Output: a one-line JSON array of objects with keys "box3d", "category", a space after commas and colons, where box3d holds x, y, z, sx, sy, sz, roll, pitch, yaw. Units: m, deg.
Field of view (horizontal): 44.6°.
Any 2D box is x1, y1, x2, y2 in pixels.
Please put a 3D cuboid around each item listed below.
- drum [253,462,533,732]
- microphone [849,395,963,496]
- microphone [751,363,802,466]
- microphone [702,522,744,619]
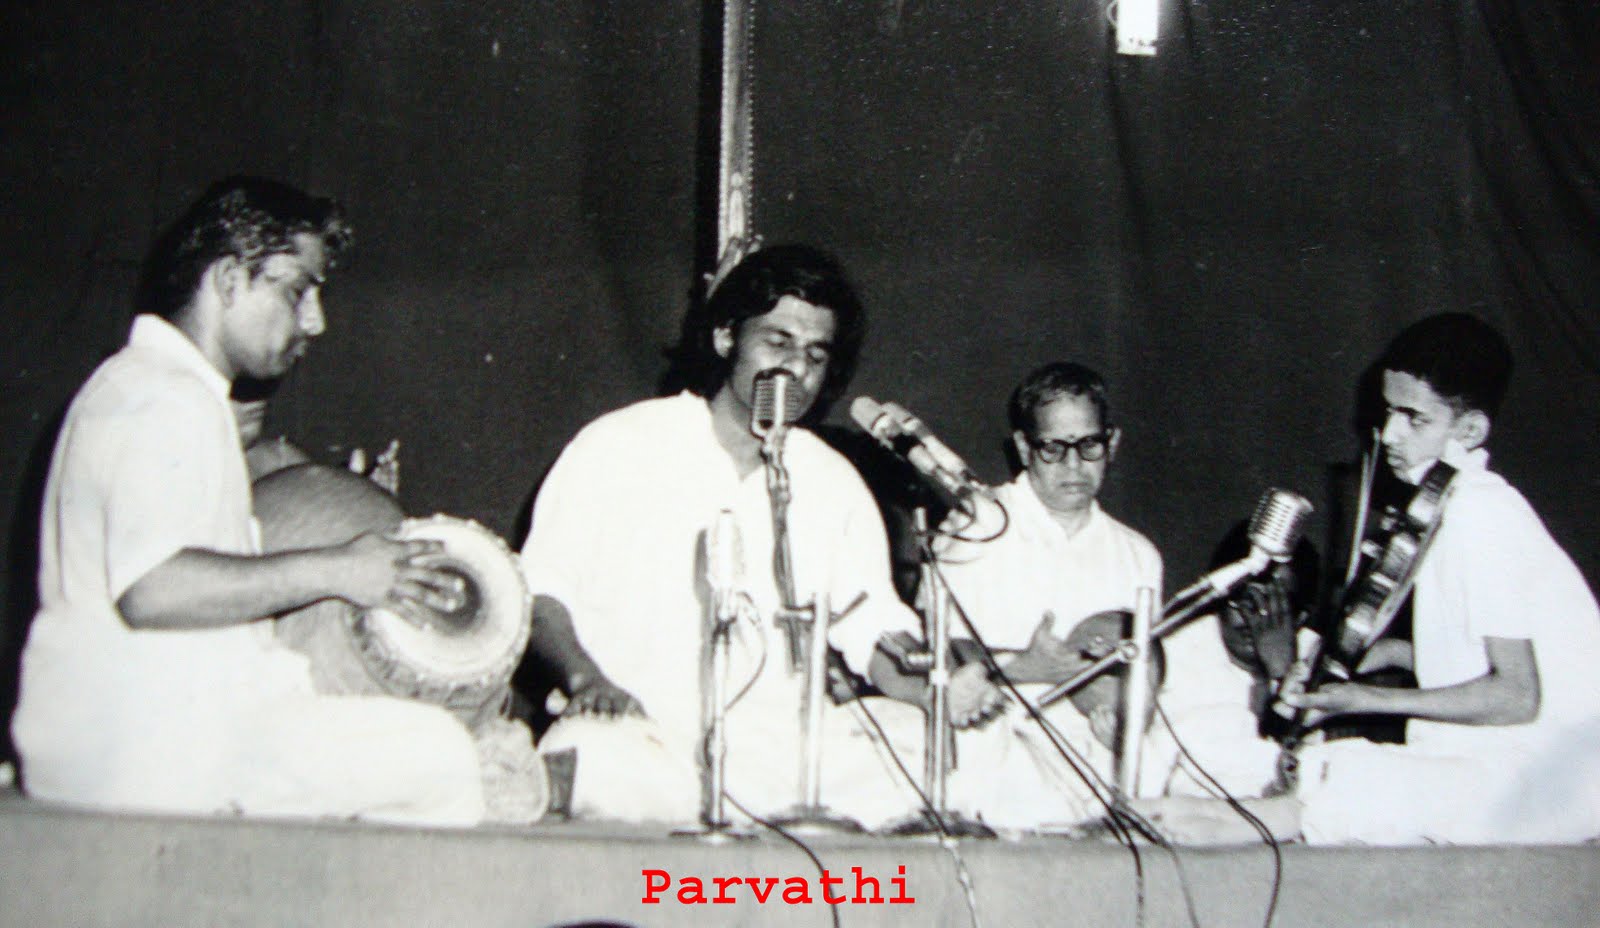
[{"box3d": [-1.515, 0.484, 7.291, 1.107, 0.722, 0.343, 26, -6, -1], "category": "drum"}, {"box3d": [0.368, -0.063, 7.046, 0.387, 0.136, 0.121, 38, 40, 8], "category": "microphone"}, {"box3d": [-0.073, -0.136, 7.004, 0.169, 0.421, 0.109, 1, -30, -18], "category": "microphone"}, {"box3d": [-0.274, 0.359, 6.909, 0.158, 0.378, 0.179, 3, 0, -2], "category": "microphone"}]
